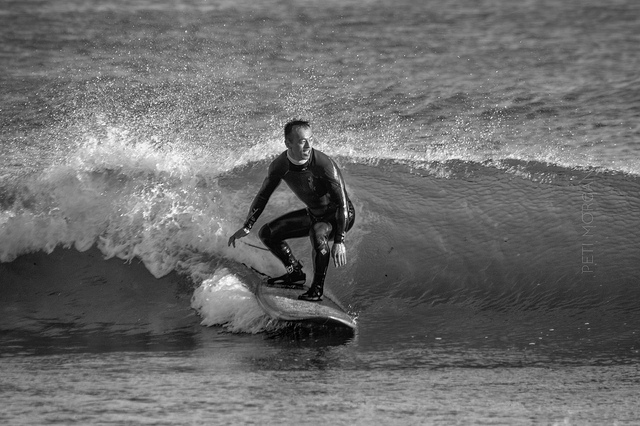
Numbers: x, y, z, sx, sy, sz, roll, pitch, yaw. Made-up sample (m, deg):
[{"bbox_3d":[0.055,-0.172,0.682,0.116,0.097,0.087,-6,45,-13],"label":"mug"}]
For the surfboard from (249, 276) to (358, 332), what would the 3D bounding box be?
[{"bbox_3d":[-0.121,1.493,15.832,1.508,2.273,0.425,0,-74,-20],"label":"surfboard"}]
